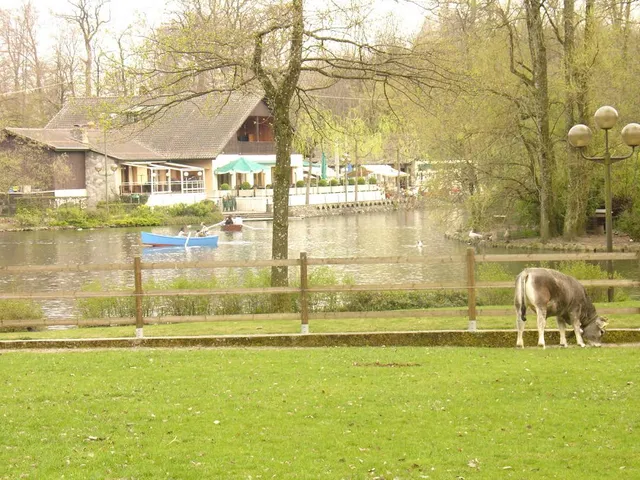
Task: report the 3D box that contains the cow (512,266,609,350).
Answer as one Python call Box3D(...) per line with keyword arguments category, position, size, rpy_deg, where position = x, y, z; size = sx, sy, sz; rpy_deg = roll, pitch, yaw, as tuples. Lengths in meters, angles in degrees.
Box3D(category="cow", position=(9.961, 2.343, 55.079), size=(5.729, 3.608, 1.697), rpy_deg=(5, -5, -35))
